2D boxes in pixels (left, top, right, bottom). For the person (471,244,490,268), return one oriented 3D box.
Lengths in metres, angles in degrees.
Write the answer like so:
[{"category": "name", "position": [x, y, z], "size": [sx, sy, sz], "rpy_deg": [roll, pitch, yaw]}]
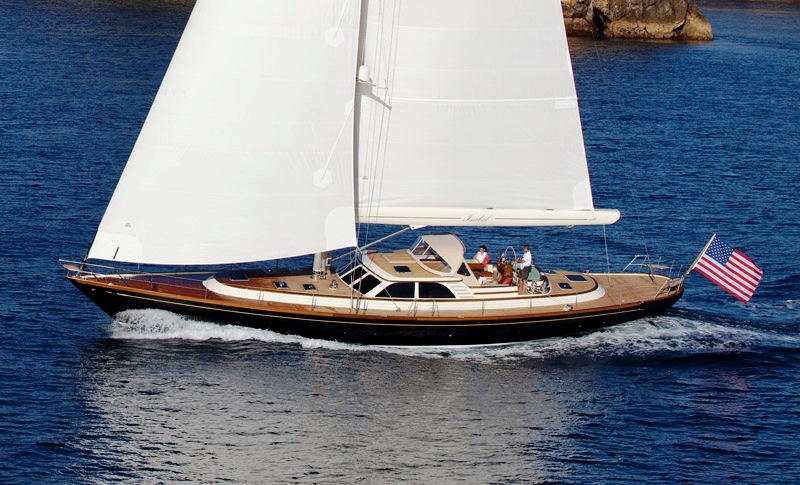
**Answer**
[{"category": "person", "position": [4.573, 0.809, 67.816], "size": [1.079, 0.929, 1.459], "rpy_deg": [-2, 10, -22]}]
